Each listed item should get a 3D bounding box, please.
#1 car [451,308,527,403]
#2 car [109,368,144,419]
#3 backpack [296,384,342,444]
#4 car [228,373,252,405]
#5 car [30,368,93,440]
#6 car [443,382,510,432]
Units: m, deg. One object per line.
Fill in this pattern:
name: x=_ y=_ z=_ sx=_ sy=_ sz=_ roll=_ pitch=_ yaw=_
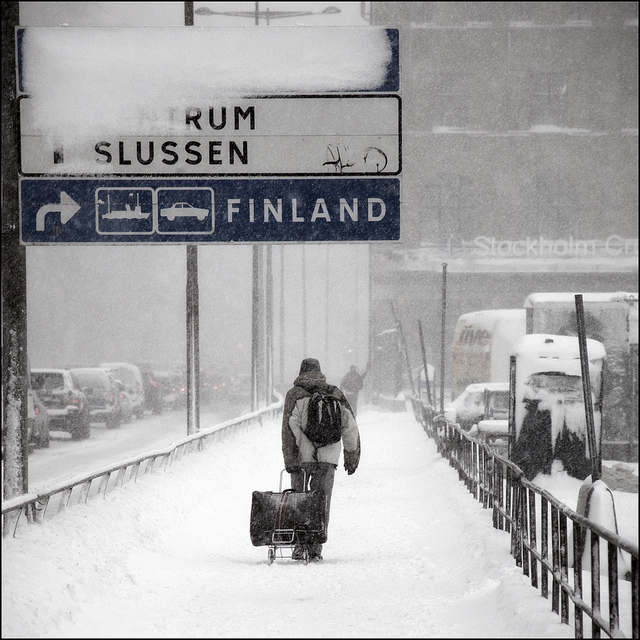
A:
car: x=3.716 y=0.646 z=27.909 sx=1.321 sy=1.546 sz=2.298 roll=0 pitch=3 yaw=0
car: x=-5.186 y=1.826 z=33.340 sx=0.975 sy=1.372 sz=2.207 roll=-4 pitch=0 yaw=-10
backpack: x=0.026 y=0.945 z=12.788 sx=0.358 sy=0.631 sz=0.572 roll=-5 pitch=14 yaw=-18
car: x=-3.159 y=2.739 z=48.762 sx=0.528 sy=1.270 sz=2.644 roll=-1 pitch=1 yaw=1
car: x=-4.946 y=1.516 z=24.520 sx=0.695 sy=0.757 sz=1.533 roll=0 pitch=3 yaw=0
car: x=2.992 y=1.651 z=24.804 sx=1.384 sy=1.036 sz=0.911 roll=0 pitch=-2 yaw=1
